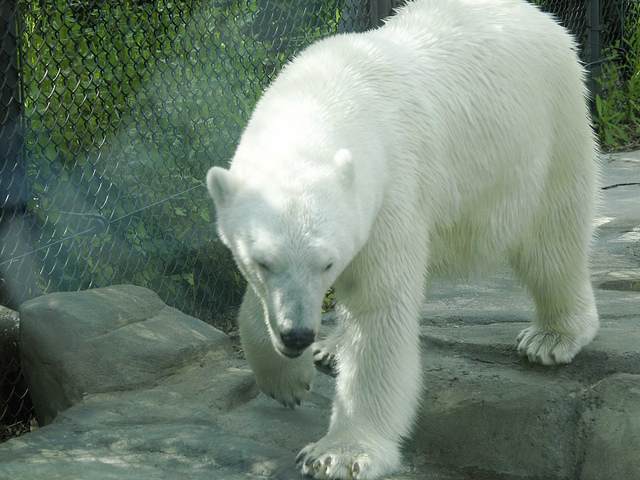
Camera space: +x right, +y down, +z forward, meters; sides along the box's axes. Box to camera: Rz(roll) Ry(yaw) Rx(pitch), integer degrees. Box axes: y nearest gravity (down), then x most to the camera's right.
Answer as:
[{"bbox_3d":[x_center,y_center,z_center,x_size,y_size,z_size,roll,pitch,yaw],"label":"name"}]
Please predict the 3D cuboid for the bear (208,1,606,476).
[{"bbox_3d":[0.422,-0.237,4.152,2.070,1.892,1.312,-19,20,-23],"label":"bear"}]
